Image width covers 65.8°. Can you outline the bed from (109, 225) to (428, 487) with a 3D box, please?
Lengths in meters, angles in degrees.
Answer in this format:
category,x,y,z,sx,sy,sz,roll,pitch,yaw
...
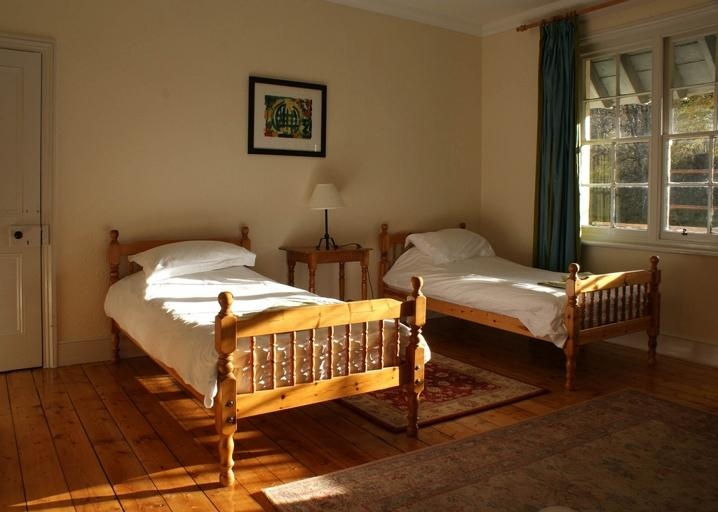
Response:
category,x,y,z,sx,sy,sz,roll,pitch,yaw
bed,-0.943,0.490,4.433,1.562,1.297,2.694,-3,8,-38

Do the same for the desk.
category,x,y,z,sx,sy,sz,roll,pitch,yaw
desk,-0.326,0.285,5.668,0.824,0.795,0.619,-3,6,-30

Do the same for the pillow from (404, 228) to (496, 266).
category,x,y,z,sx,sy,sz,roll,pitch,yaw
pillow,1.036,-0.108,5.902,0.630,0.159,0.459,-2,37,-37
